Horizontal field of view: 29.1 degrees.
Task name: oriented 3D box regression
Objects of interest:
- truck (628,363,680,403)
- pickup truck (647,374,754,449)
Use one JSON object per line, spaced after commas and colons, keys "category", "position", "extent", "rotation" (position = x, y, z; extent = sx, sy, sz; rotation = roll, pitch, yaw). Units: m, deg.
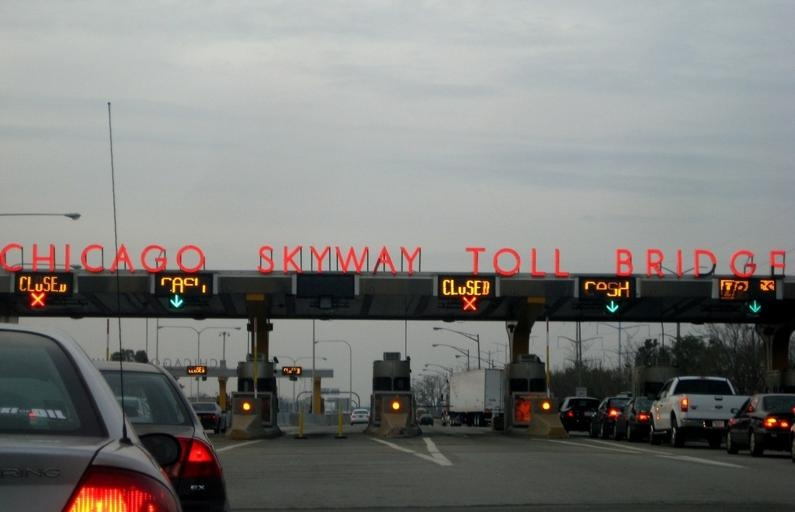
{"category": "truck", "position": [13.009, 6.284, 71.755], "extent": [2.195, 2.407, 4.079], "rotation": [-1, -3, -13]}
{"category": "pickup truck", "position": [9.310, 4.859, 47.801], "extent": [2.328, 2.039, 4.814], "rotation": [3, -6, -4]}
